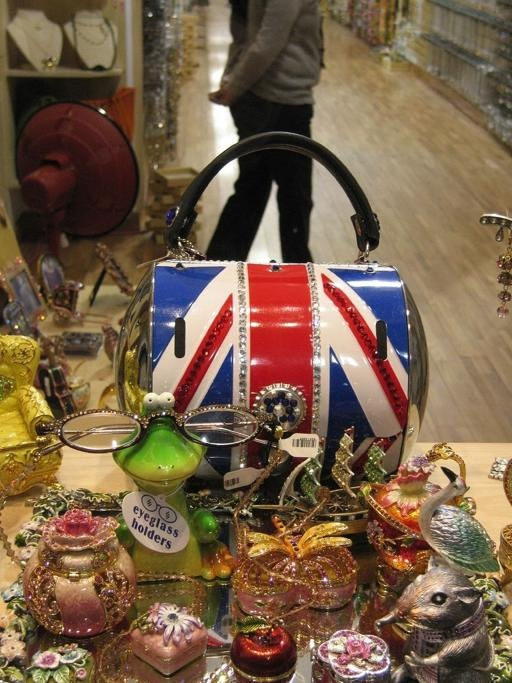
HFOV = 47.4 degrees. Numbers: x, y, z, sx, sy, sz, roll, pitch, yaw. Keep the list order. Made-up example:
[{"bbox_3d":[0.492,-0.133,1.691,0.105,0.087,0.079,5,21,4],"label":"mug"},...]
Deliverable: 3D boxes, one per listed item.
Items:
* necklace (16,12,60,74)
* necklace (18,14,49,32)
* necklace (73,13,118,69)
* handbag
[{"bbox_3d":[-0.413,-0.576,1.128,0.085,0.094,0.027,-12,28,-8],"label":"necklace"},{"bbox_3d":[-0.422,-0.602,1.116,0.034,0.018,0.035,-3,14,-40],"label":"necklace"},{"bbox_3d":[-0.324,-0.600,1.159,0.092,0.101,0.060,-19,59,-18],"label":"necklace"},{"bbox_3d":[0.017,-0.035,0.655,0.369,0.352,0.214,-2,19,-8],"label":"handbag"}]
